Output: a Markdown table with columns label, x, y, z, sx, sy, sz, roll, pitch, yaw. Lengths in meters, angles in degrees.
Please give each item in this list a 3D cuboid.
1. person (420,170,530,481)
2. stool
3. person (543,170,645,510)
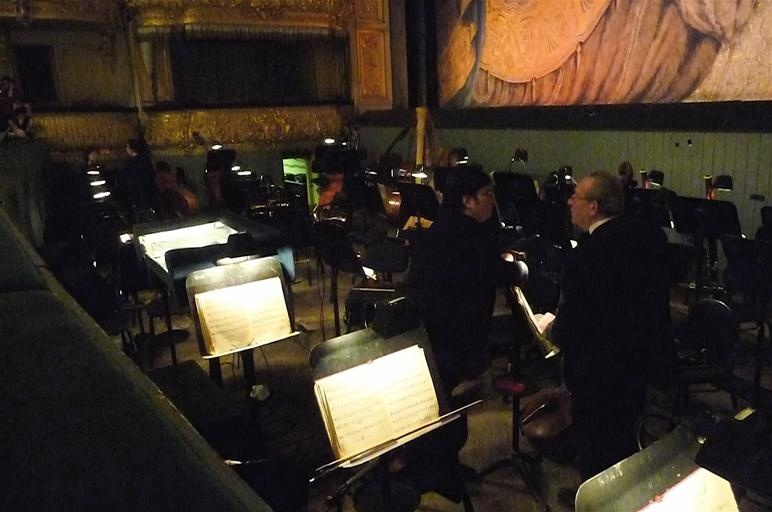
| label | x | y | z | sx | sy | sz | roll | pitch | yaw |
| --- | --- | --- | --- | --- | --- | --- | --- | --- | --- |
| person | 0.652 | 0.215 | 5.225 | 0.720 | 1.754 | 0.454 | -2 | 17 | 2 |
| stool | 1.149 | 1.598 | 5.462 | 0.749 | 1.055 | 1.029 | 1 | 6 | 14 |
| person | 1.654 | 0.569 | 4.898 | 0.619 | 2.252 | 0.768 | -15 | 21 | -34 |
